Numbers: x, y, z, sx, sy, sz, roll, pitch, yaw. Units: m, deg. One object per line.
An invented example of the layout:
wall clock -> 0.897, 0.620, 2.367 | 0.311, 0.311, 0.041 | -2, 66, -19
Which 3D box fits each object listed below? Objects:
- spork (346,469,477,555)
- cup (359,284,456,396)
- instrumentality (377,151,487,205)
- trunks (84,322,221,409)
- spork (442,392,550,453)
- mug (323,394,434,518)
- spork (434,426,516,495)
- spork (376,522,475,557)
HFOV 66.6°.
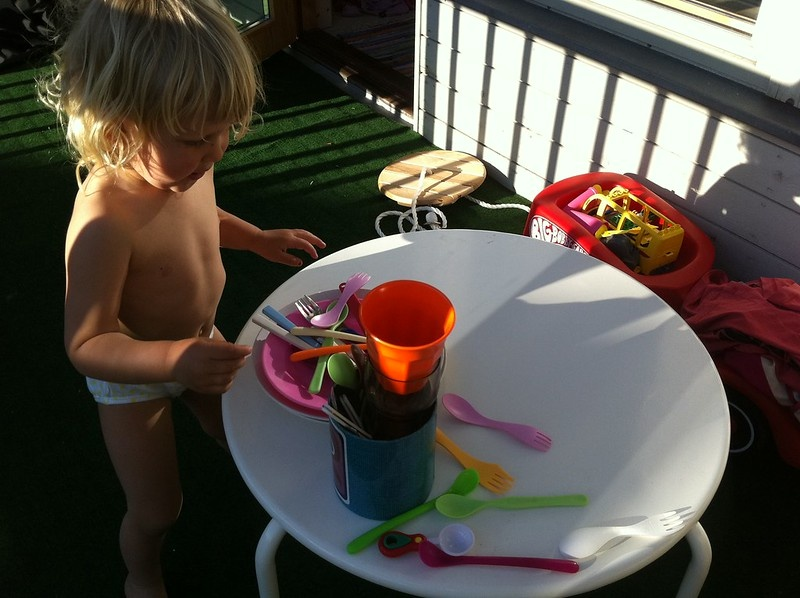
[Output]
spork -> 0.009, 0.321, 0.903 | 0.189, 0.035, 0.033 | -28, 45, -8
cup -> -0.006, 0.067, 0.925 | 0.143, 0.155, 0.152 | 4, 51, -5
instrumentality -> 0.123, -0.457, 2.362 | 0.426, 0.123, 0.327 | -21, 41, -31
trunks -> -0.445, 0.114, 1.083 | 0.197, 0.074, 0.156 | 9, 35, -30
spork -> 0.160, 0.211, 1.024 | 0.217, 0.031, 0.050 | 17, 26, 41
mug -> -0.031, 0.234, 0.939 | 0.143, 0.156, 0.145 | 15, 30, 24
spork -> 0.120, 0.264, 0.979 | 0.033, 0.018, 0.203 | -41, 48, -18
spork -> 0.036, 0.352, 0.887 | 0.136, 0.038, 0.057 | -1, 62, 2
